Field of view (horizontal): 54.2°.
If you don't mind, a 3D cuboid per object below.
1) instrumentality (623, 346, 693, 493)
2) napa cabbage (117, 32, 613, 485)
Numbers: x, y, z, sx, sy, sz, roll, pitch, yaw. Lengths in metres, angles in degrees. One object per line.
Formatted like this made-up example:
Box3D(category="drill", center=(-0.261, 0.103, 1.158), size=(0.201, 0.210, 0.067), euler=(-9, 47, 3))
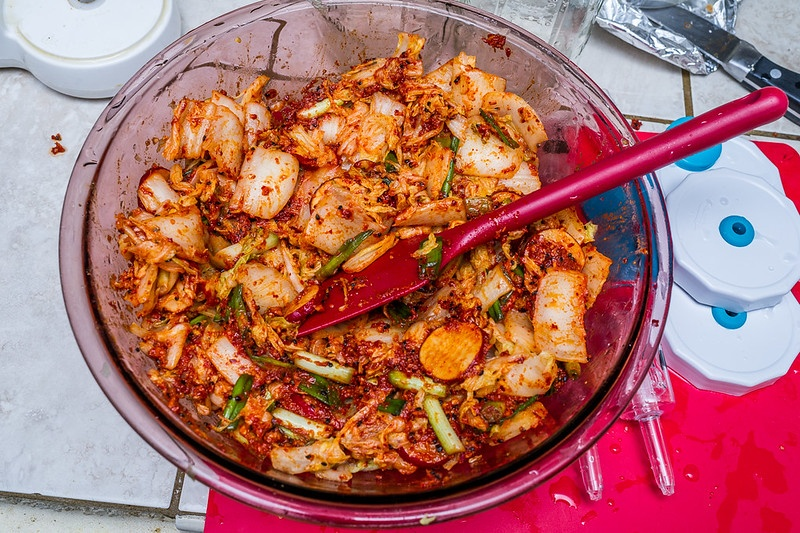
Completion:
Box3D(category="instrumentality", center=(0.626, 0.395, 1.995), size=(0.110, 0.142, 0.388), euler=(-3, 66, 2))
Box3D(category="napa cabbage", center=(-0.084, 0.010, 1.880), size=(0.809, 0.301, 0.958), euler=(-3, 79, -1))
